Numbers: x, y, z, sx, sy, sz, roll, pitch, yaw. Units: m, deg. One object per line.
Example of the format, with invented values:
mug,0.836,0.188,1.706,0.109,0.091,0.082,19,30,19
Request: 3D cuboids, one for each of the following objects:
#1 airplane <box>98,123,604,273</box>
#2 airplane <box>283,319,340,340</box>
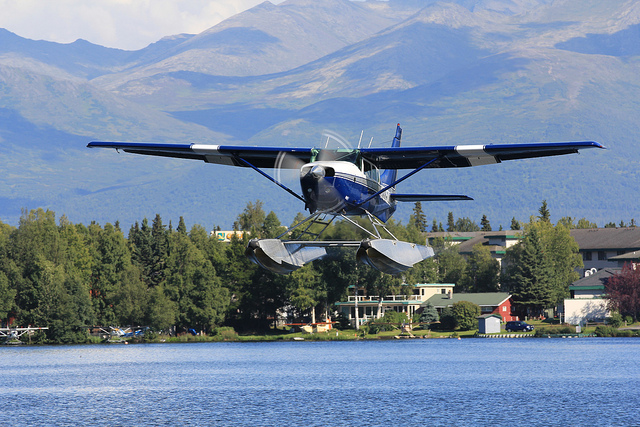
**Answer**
airplane,5.106,-3.392,231.570,78.761,25.089,56.468,0,1,25
airplane,-1.379,21.769,275.082,10.260,2.148,4.658,-7,14,-29
